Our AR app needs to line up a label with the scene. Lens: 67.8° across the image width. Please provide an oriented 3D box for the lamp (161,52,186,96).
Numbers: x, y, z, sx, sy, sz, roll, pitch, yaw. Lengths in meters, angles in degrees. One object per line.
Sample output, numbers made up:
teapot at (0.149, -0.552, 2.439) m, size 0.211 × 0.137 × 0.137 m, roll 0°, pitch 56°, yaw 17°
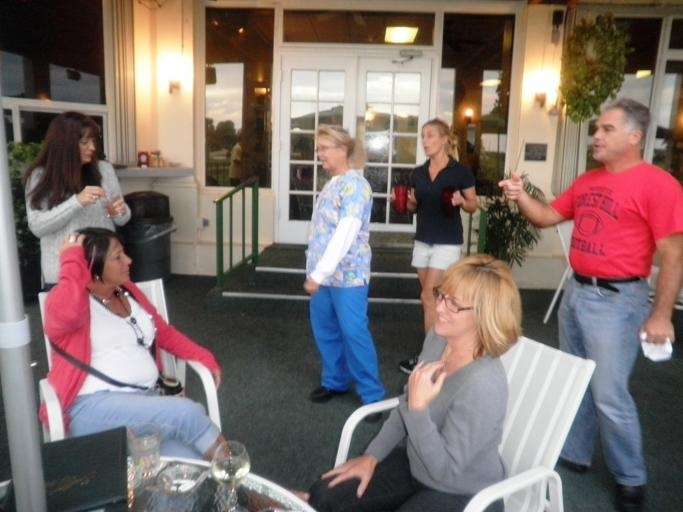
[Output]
lamp at (-2.041, -2.198, 6.133) m, size 0.293 × 0.474 × 0.089 m, roll 6°, pitch 12°, yaw 18°

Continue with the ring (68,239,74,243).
ring at (-1.119, -0.062, 2.103) m, size 0.018 × 0.018 × 0.004 m, roll -2°, pitch 0°, yaw 2°

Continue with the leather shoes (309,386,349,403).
leather shoes at (-0.080, 0.901, 3.369) m, size 0.230 × 0.092 × 0.085 m, roll 2°, pitch 29°, yaw -25°

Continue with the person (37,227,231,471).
person at (-0.933, 0.314, 2.542) m, size 0.955 × 1.155 × 0.788 m, roll 1°, pitch 4°, yaw 15°

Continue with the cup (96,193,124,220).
cup at (-1.328, -0.284, 2.945) m, size 0.152 × 0.057 × 0.118 m, roll -1°, pitch 55°, yaw -12°
